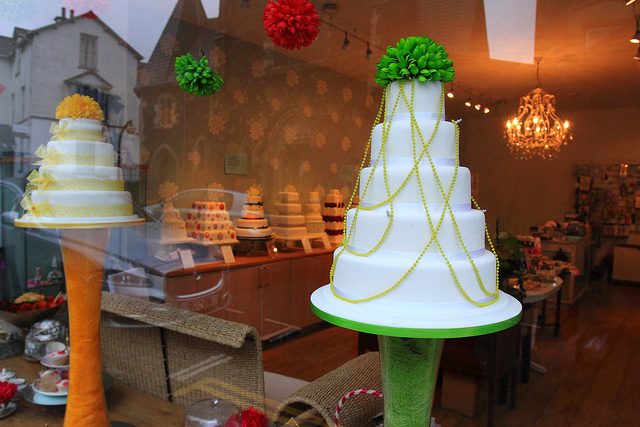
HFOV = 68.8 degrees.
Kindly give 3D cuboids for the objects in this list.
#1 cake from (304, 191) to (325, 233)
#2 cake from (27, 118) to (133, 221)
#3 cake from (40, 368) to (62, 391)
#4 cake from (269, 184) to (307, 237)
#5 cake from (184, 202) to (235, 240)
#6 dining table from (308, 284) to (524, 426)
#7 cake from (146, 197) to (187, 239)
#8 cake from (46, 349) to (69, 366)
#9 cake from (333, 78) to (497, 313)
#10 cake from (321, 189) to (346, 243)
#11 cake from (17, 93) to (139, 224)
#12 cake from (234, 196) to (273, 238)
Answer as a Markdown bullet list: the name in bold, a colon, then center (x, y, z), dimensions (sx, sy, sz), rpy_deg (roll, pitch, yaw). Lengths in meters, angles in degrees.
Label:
- **cake**: center (-0.060, -0.019, 4.963), dimensions (0.183, 0.448, 0.323), rpy_deg (1, 3, 7)
- **cake**: center (-1.210, -0.237, 2.340), dimensions (0.464, 0.481, 0.478), rpy_deg (4, 8, 16)
- **cake**: center (-1.312, 0.810, 2.275), dimensions (0.094, 0.087, 0.093), rpy_deg (0, -7, 4)
- **cake**: center (-0.304, -0.048, 4.780), dimensions (0.309, 0.518, 0.275), rpy_deg (7, 7, 43)
- **cake**: center (-1.026, 0.068, 4.440), dimensions (0.487, 0.296, 0.473), rpy_deg (-2, 6, -19)
- **dining table**: center (0.392, 0.590, 1.920), dimensions (0.863, 0.546, 0.342), rpy_deg (1, 3, -3)
- **cake**: center (-1.282, 0.038, 3.893), dimensions (0.306, 0.313, 0.303), rpy_deg (2, 6, 16)
- **cake**: center (-1.301, 0.710, 2.305), dimensions (0.073, 0.046, 0.072), rpy_deg (0, -9, 10)
- **cake**: center (0.387, -0.095, 1.918), dimensions (0.654, 0.945, 0.301), rpy_deg (2, 3, 19)
- **cake**: center (0.150, 0.014, 5.078), dimensions (0.202, 0.591, 0.231), rpy_deg (1, 24, 5)
- **cake**: center (-1.232, -0.278, 2.356), dimensions (0.576, 0.600, 0.585), rpy_deg (4, 8, 17)
- **cake**: center (-0.661, 0.025, 4.578), dimensions (0.347, 0.402, 0.145), rpy_deg (0, 3, -12)
